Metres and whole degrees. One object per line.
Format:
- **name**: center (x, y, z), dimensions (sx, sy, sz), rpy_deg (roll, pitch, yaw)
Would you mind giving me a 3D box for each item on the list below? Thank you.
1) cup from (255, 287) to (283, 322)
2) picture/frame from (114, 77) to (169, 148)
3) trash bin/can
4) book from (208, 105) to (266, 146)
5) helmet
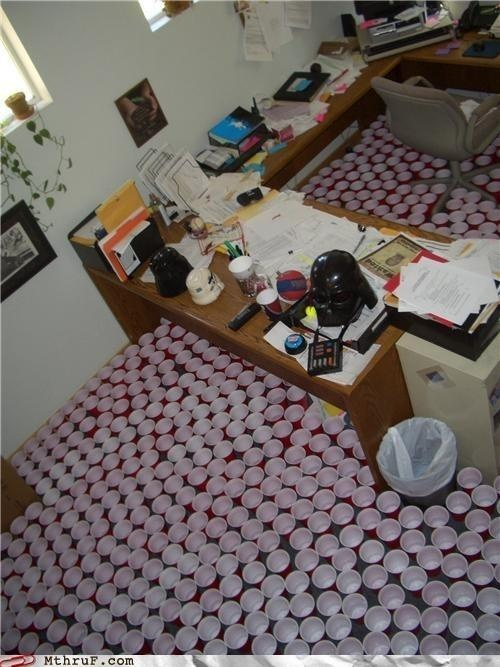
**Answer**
- **cup**: center (0.073, -0.099, 1.736), dimensions (0.070, 0.113, 0.091), rpy_deg (-28, 35, 5)
- **picture/frame**: center (-0.531, -1.066, 2.453), dimensions (0.017, 0.300, 0.311), rpy_deg (25, 45, 32)
- **trash bin/can**: center (0.536, 0.420, 1.658), dimensions (0.237, 0.210, 0.221), rpy_deg (22, 66, 42)
- **book**: center (-0.062, -1.140, 2.810), dimensions (0.307, 0.092, 0.224), rpy_deg (-39, 63, -17)
- **helmet**: center (0.265, -0.161, 1.604), dimensions (0.214, 0.192, 0.218), rpy_deg (3, 45, 38)
